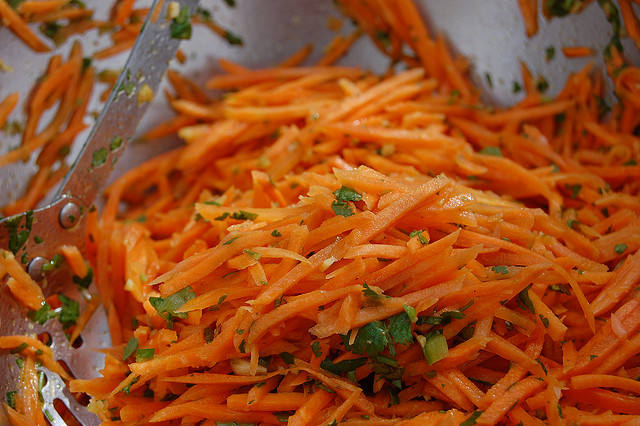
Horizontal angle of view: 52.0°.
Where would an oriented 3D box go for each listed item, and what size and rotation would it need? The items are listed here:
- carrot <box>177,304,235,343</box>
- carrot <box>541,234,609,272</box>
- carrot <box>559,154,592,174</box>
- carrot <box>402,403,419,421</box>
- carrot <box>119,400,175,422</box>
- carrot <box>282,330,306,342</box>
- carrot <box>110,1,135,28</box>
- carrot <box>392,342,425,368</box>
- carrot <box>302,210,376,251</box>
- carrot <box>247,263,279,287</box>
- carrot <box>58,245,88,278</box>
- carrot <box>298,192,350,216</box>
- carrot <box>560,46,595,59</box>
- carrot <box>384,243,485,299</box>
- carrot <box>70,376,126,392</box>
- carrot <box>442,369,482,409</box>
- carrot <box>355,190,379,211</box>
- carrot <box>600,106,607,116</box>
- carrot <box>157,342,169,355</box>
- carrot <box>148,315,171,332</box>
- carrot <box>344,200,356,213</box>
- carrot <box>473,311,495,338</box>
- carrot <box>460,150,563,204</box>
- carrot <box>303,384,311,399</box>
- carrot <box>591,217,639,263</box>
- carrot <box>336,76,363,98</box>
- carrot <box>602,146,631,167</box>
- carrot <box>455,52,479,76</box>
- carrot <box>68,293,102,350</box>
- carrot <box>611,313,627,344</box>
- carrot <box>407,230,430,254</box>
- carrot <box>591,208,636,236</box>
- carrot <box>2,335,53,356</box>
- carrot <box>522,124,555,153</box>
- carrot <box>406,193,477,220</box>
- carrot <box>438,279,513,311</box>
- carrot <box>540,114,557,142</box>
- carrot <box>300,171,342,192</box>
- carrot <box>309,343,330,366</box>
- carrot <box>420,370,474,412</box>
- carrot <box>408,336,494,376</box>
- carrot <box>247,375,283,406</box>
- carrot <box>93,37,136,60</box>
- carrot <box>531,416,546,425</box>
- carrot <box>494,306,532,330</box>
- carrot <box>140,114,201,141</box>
[{"bbox_3d":[-0.667,0.573,3.629,0.355,0.090,0.089,-25,44,-37],"label":"carrot"},{"bbox_3d":[1.503,0.245,3.867,0.267,0.069,0.066,31,104,4],"label":"carrot"},{"bbox_3d":[1.691,-0.306,4.308,0.260,0.062,0.046,42,104,29],"label":"carrot"},{"bbox_3d":[0.498,1.072,3.534,0.050,0.025,0.074,-13,37,57],"label":"carrot"},{"bbox_3d":[-0.979,1.105,3.676,0.248,0.164,0.098,-14,63,20],"label":"carrot"},{"bbox_3d":[-0.140,0.684,3.654,0.100,0.036,0.059,-13,70,7],"label":"carrot"},{"bbox_3d":[-1.313,-1.303,4.323,0.191,0.113,0.045,-68,29,17],"label":"carrot"},{"bbox_3d":[0.501,0.778,3.606,0.089,0.195,0.066,26,118,47],"label":"carrot"},{"bbox_3d":[0.120,0.107,3.631,0.291,0.079,0.051,-30,34,11],"label":"carrot"},{"bbox_3d":[-0.299,0.328,3.624,0.128,0.037,0.136,-6,68,-12],"label":"carrot"},{"bbox_3d":[-1.526,0.304,4.054,0.104,0.208,0.066,-29,26,-4],"label":"carrot"},{"bbox_3d":[0.021,-0.081,3.769,0.311,0.093,0.085,21,37,22],"label":"carrot"},{"bbox_3d":[1.675,-1.023,4.245,0.205,0.052,0.075,0,88,29],"label":"carrot"},{"bbox_3d":[0.604,0.321,3.550,0.407,0.102,0.060,-30,24,1],"label":"carrot"},{"bbox_3d":[-1.296,0.992,3.836,0.312,0.056,0.115,-5,85,-17],"label":"carrot"},{"bbox_3d":[0.774,0.933,3.513,0.052,0.084,0.310,-47,64,7],"label":"carrot"},{"bbox_3d":[0.274,-0.074,3.703,0.106,0.042,0.121,29,33,-6],"label":"carrot"},{"bbox_3d":[1.847,-0.661,4.266,0.038,0.016,0.058,-8,80,30],"label":"carrot"},{"bbox_3d":[-0.883,0.762,3.691,0.053,0.019,0.061,-11,88,21],"label":"carrot"},{"bbox_3d":[-0.943,0.637,3.829,0.089,0.095,0.076,6,91,13],"label":"carrot"},{"bbox_3d":[0.174,-0.032,3.687,0.013,0.061,0.060,-24,46,2],"label":"carrot"},{"bbox_3d":[0.890,0.601,3.557,0.029,0.037,0.135,30,68,-4],"label":"carrot"},{"bbox_3d":[1.263,-0.220,4.299,0.486,0.088,0.132,29,55,9],"label":"carrot"},{"bbox_3d":[-0.070,0.965,3.538,0.017,0.017,0.064,21,75,-2],"label":"carrot"},{"bbox_3d":[1.804,0.185,3.950,0.312,0.093,0.167,-32,62,8],"label":"carrot"},{"bbox_3d":[0.210,-0.900,4.653,0.105,0.062,0.200,-26,60,-23],"label":"carrot"},{"bbox_3d":[1.923,-0.361,4.236,0.162,0.077,0.101,0,70,25],"label":"carrot"},{"bbox_3d":[1.027,-1.034,4.584,0.137,0.063,0.108,-47,65,38],"label":"carrot"},{"bbox_3d":[-1.455,0.648,4.125,0.047,0.082,0.432,-20,39,54],"label":"carrot"},{"bbox_3d":[1.635,0.627,3.575,0.073,0.035,0.153,-3,81,-3],"label":"carrot"},{"bbox_3d":[0.541,0.160,3.600,0.141,0.089,0.033,-47,15,-30],"label":"carrot"},{"bbox_3d":[1.839,0.054,4.094,0.280,0.110,0.076,-33,106,-4],"label":"carrot"},{"bbox_3d":[-1.711,0.776,3.845,0.172,0.254,0.092,5,70,26],"label":"carrot"},{"bbox_3d":[1.468,-0.508,4.420,0.309,0.083,0.087,36,93,24],"label":"carrot"},{"bbox_3d":[0.684,-0.047,3.683,0.470,0.113,0.132,2,71,-13],"label":"carrot"},{"bbox_3d":[0.831,0.443,3.547,0.273,0.068,0.043,-22,69,-6],"label":"carrot"},{"bbox_3d":[1.556,-0.573,4.465,0.131,0.033,0.148,25,101,3],"label":"carrot"},{"bbox_3d":[0.010,-0.185,3.944,0.311,0.089,0.101,19,101,33],"label":"carrot"},{"bbox_3d":[0.001,0.768,3.576,0.147,0.069,0.060,-43,58,4],"label":"carrot"},{"bbox_3d":[0.708,0.951,3.573,0.347,0.088,0.109,37,63,18],"label":"carrot"},{"bbox_3d":[0.695,0.766,3.548,0.318,0.078,0.065,-27,62,-1],"label":"carrot"},{"bbox_3d":[-0.319,0.975,3.640,0.081,0.344,0.096,4,100,21],"label":"carrot"},{"bbox_3d":[-1.367,-1.081,4.337,0.327,0.059,0.064,-32,65,-14],"label":"carrot"},{"bbox_3d":[1.169,1.102,3.493,0.044,0.042,0.010,28,105,29],"label":"carrot"},{"bbox_3d":[1.062,0.576,3.597,0.177,0.051,0.050,33,80,-12],"label":"carrot"},{"bbox_3d":[-1.034,-0.598,4.546,0.280,0.080,0.063,-18,46,-7],"label":"carrot"}]
